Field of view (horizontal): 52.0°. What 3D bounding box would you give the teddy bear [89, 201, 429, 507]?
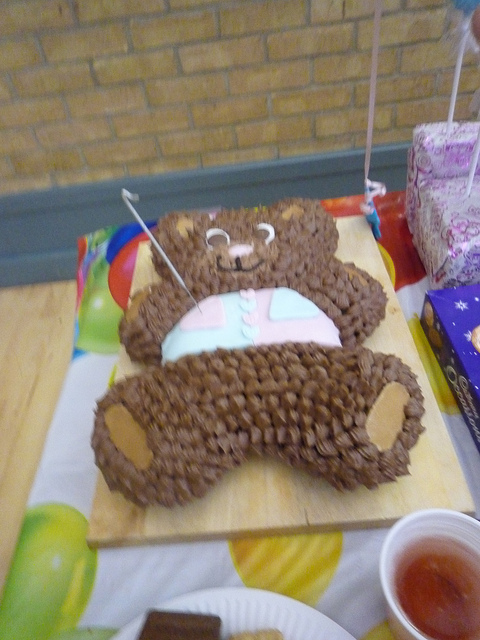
[{"bbox_3d":[0.012,0.019,0.571,0.278,0.100,0.342,-2,51,0],"label":"teddy bear"}]
